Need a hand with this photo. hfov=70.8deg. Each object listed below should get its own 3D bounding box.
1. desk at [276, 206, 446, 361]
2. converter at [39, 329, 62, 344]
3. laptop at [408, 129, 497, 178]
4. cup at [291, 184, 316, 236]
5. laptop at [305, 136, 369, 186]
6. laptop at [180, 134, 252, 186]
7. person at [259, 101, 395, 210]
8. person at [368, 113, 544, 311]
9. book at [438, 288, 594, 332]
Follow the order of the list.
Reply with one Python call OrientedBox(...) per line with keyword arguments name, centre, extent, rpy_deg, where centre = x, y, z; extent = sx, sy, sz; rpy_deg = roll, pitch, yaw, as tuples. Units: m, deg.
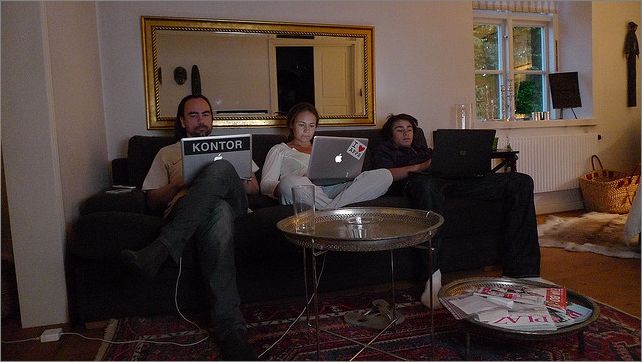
OrientedBox(name="desk", centre=(0.185, 0.679, 3.069), extent=(1.073, 0.775, 1.007), rpy_deg=(8, 13, 41))
OrientedBox(name="converter", centre=(-1.898, 1.078, 3.160), extent=(0.142, 0.064, 0.082), rpy_deg=(-2, 14, -2))
OrientedBox(name="laptop", centre=(1.116, -0.247, 3.775), extent=(0.595, 0.378, 0.395), rpy_deg=(0, 6, -8))
OrientedBox(name="cup", centre=(-0.108, 0.177, 2.857), extent=(0.137, 0.276, 0.154), rpy_deg=(-3, 14, -4))
OrientedBox(name="laptop", centre=(0.124, -0.166, 3.603), extent=(0.564, 0.357, 0.396), rpy_deg=(-3, 16, -31))
OrientedBox(name="laptop", centre=(-0.752, -0.200, 3.295), extent=(0.554, 0.336, 0.369), rpy_deg=(-4, 6, -26))
OrientedBox(name="person", centre=(0.039, -0.124, 3.962), extent=(1.246, 0.887, 0.893), rpy_deg=(-1, -4, -38))
OrientedBox(name="person", centre=(1.151, 0.049, 4.243), extent=(1.255, 1.271, 1.556), rpy_deg=(0, 0, -14))
OrientedBox(name="book", centre=(1.241, 0.820, 2.871), extent=(0.418, 0.041, 0.383), rpy_deg=(-5, 8, -27))
